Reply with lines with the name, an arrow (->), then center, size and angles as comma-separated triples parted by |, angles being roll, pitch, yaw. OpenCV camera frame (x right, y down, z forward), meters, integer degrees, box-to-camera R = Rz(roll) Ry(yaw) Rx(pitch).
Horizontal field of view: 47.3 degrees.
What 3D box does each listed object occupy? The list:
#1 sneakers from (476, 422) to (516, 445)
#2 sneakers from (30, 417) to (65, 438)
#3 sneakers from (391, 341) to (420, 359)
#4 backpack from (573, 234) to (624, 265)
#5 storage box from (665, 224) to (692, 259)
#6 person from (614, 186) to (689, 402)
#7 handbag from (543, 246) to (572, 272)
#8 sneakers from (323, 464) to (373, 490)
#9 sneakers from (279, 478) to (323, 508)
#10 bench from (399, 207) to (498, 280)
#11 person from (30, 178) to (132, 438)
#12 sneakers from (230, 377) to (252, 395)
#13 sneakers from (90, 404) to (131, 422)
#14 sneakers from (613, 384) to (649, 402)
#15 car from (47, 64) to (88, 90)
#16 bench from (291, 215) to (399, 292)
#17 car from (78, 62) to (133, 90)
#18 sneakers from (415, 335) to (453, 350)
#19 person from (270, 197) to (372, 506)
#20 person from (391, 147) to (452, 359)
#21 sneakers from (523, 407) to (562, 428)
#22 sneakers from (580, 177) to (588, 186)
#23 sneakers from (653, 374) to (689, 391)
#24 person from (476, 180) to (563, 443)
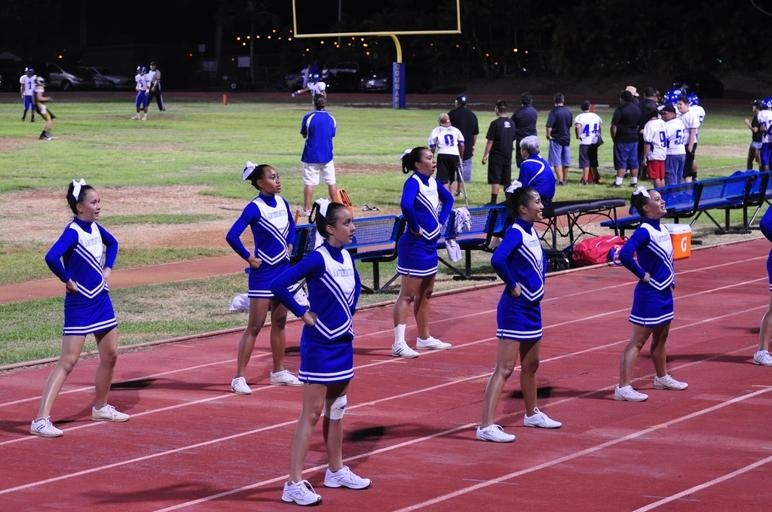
sneakers -> 1.076, 1.763, 8.718 | 0.346, 0.126, 0.174 | 0, -1, 9
sneakers -> -3.430, 1.754, 8.981 | 0.391, 0.166, 0.154 | 4, 4, 11
sneakers -> 0.259, 1.223, 11.379 | 0.341, 0.131, 0.174 | 2, 2, 30
backpack -> 3.992, -0.127, 16.329 | 0.513, 0.275, 0.856 | 6, 11, 43
storage box -> 4.807, -0.238, 14.503 | 0.503, 0.575, 0.645 | 5, 8, 42
person -> 2.916, 0.441, 9.599 | 0.693, 2.304, 0.876 | 6, 15, 28
handbag -> 3.043, 0.075, 15.551 | 0.553, 0.474, 0.394 | -6, 5, 9
sneakers -> -0.360, 1.984, 7.889 | 0.493, 0.193, 0.166 | 2, 1, 3
sneakers -> -0.712, 2.030, 7.536 | 0.373, 0.152, 0.166 | 3, 3, 21
bench -> 0.956, -0.208, 13.239 | 1.388, 0.796, 0.542 | -6, 12, -43
person -> -3.162, 0.504, 9.184 | 0.846, 2.549, 1.263 | 1, 13, 11
sneakers -> -1.657, 1.484, 10.156 | 0.234, 0.209, 0.254 | -3, 13, -11
sneakers -> -2.927, 1.690, 9.414 | 0.415, 0.142, 0.164 | 2, 3, 2
sneakers -> 2.649, 1.507, 9.618 | 0.431, 0.167, 0.157 | 1, 5, 5
car -> -23.642, -13.196, 65.153 | 2.802, 1.242, 1.453 | -2, 15, -6
bench -> -0.471, -0.049, 10.980 | 1.425, 0.698, 0.583 | -5, 5, -43
car -> -21.125, -13.592, 66.897 | 3.424, 0.993, 1.763 | -6, 22, -19
sneakers -> 0.638, 1.149, 11.643 | 0.476, 0.167, 0.173 | 1, 1, -5
person -> -0.562, 1.029, 7.710 | 0.971, 2.126, 0.793 | -8, 15, -27
person -> 0.469, -0.068, 11.537 | 0.794, 2.702, 1.077 | 0, 13, 4
sneakers -> 1.577, 1.671, 9.069 | 0.474, 0.190, 0.160 | 0, 3, 11
sneakers -> 5.423, -2.030, 24.098 | 0.206, 0.202, 0.546 | 2, 13, 10
sneakers -> 3.190, 1.436, 9.919 | 0.450, 0.180, 0.155 | 0, 5, 2
person -> 1.330, 0.590, 8.773 | 0.767, 2.484, 0.912 | 2, 13, 12
